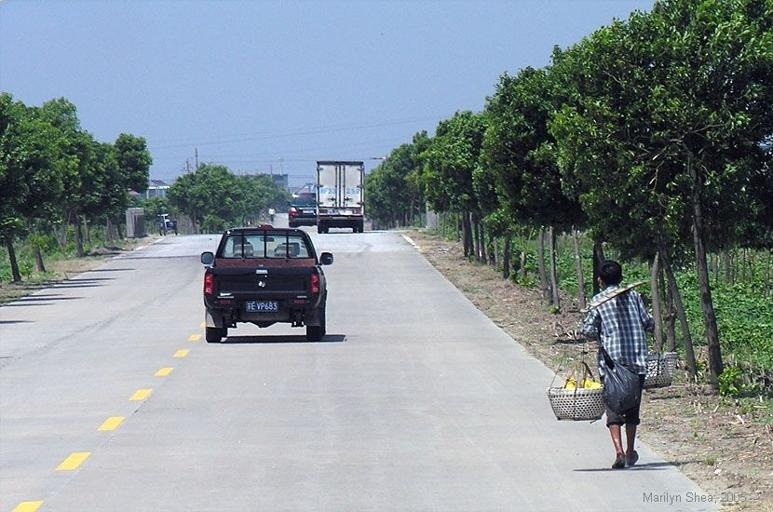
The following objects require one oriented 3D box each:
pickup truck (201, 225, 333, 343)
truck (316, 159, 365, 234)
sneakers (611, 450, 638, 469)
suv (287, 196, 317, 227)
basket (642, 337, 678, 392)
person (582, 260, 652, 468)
[{"bbox_3d":[-2.476,0.415,19.057,1.915,1.356,2.965,0,5,-3],"label":"pickup truck"},{"bbox_3d":[-3.150,-3.807,63.075,3.407,3.758,6.390,0,-1,-2],"label":"truck"},{"bbox_3d":[2.505,2.141,9.787,0.130,0.142,0.351,-4,9,27],"label":"sneakers"},{"bbox_3d":[-6.716,-3.122,73.028,2.373,1.861,5.263,0,6,-2],"label":"suv"},{"bbox_3d":[3.230,1.284,10.980,0.603,0.455,0.825,1,2,6],"label":"basket"},{"bbox_3d":[2.472,1.142,9.970,0.704,2.163,0.681,-2,3,23],"label":"person"}]
